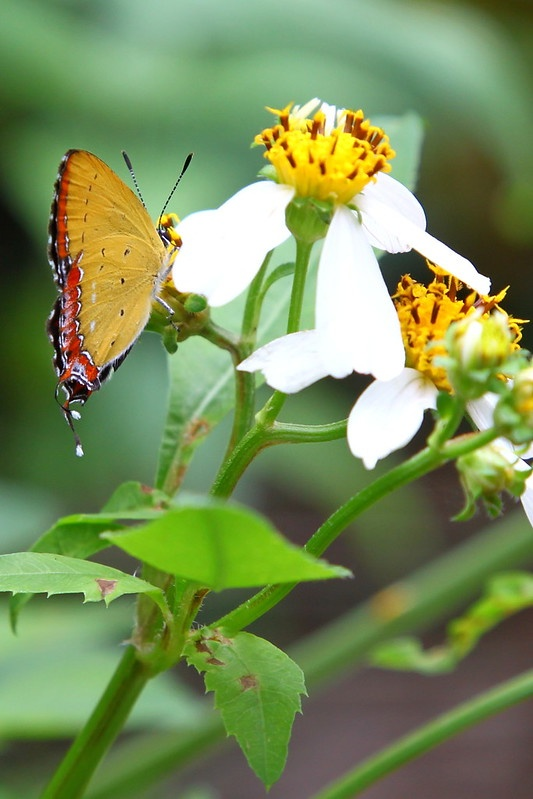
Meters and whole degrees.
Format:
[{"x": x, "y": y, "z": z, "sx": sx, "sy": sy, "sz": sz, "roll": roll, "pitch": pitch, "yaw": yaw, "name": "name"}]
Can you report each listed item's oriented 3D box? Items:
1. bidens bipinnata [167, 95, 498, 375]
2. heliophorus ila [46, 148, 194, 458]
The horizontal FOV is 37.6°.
[{"x": 0.046, "y": -0.177, "z": 0.830, "sx": 0.344, "sy": 0.331, "sz": 0.145, "roll": -1, "pitch": -25, "yaw": 11, "name": "bidens bipinnata"}, {"x": -0.205, "y": -0.140, "z": 1.068, "sx": 0.174, "sy": 0.374, "sz": 0.309, "roll": -3, "pitch": 11, "yaw": -23, "name": "heliophorus ila"}]
